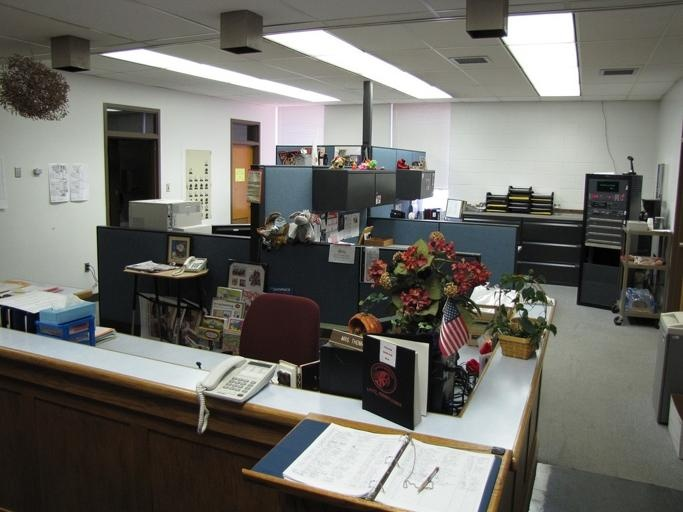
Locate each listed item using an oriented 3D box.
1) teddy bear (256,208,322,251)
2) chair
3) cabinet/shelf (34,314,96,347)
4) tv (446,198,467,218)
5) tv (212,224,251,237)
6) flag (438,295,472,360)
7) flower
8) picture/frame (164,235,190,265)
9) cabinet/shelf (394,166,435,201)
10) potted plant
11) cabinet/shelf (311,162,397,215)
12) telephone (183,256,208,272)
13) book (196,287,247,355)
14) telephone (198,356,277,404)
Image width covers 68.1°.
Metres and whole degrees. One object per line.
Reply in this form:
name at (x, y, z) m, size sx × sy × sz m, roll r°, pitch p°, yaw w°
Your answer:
teddy bear at (-0.412, -0.265, 4.367) m, size 0.361 × 0.159 × 0.373 m, roll 7°, pitch 17°, yaw 16°
chair at (-0.368, 0.415, 3.237) m, size 0.386 × 0.557 × 0.453 m, roll 4°, pitch 9°, yaw 15°
cabinet/shelf at (-1.671, 0.394, 3.051) m, size 0.187 × 0.253 × 0.259 m, roll 2°, pitch 4°, yaw 25°
tv at (2.023, -0.846, 9.010) m, size 0.348 × 0.342 × 0.092 m, roll 13°, pitch 2°, yaw 45°
tv at (-1.089, -0.257, 4.977) m, size 0.255 × 0.188 × 0.186 m, roll 1°, pitch 8°, yaw 2°
flag at (0.494, 0.338, 2.250) m, size 0.109 × 0.269 × 0.194 m, roll 12°, pitch 16°, yaw 29°
flower at (0.426, 0.146, 2.506) m, size 0.494 × 0.549 × 0.519 m, roll -8°, pitch 6°, yaw 22°
picture/frame at (-1.539, -0.064, 4.750) m, size 0.259 × 0.309 × 0.020 m, roll 3°, pitch 0°, yaw 25°
cabinet/shelf at (1.021, -1.009, 7.023) m, size 0.275 × 0.413 × 0.984 m, roll 12°, pitch 17°, yaw 29°
potted plant at (1.086, 0.287, 3.068) m, size 0.442 × 0.521 × 0.569 m, roll 2°, pitch 8°, yaw 17°
cabinet/shelf at (0.155, -0.697, 5.146) m, size 0.363 × 0.440 × 1.263 m, roll 11°, pitch 16°, yaw 25°
telephone at (-1.324, 0.066, 4.553) m, size 0.189 × 0.100 × 0.199 m, roll 5°, pitch 15°, yaw 0°
book at (-1.012, 0.544, 4.360) m, size 0.419 × 0.625 × 0.186 m, roll 4°, pitch -9°, yaw 18°
telephone at (-0.484, 0.568, 2.363) m, size 0.255 × 0.114 × 0.268 m, roll 10°, pitch 16°, yaw 20°
